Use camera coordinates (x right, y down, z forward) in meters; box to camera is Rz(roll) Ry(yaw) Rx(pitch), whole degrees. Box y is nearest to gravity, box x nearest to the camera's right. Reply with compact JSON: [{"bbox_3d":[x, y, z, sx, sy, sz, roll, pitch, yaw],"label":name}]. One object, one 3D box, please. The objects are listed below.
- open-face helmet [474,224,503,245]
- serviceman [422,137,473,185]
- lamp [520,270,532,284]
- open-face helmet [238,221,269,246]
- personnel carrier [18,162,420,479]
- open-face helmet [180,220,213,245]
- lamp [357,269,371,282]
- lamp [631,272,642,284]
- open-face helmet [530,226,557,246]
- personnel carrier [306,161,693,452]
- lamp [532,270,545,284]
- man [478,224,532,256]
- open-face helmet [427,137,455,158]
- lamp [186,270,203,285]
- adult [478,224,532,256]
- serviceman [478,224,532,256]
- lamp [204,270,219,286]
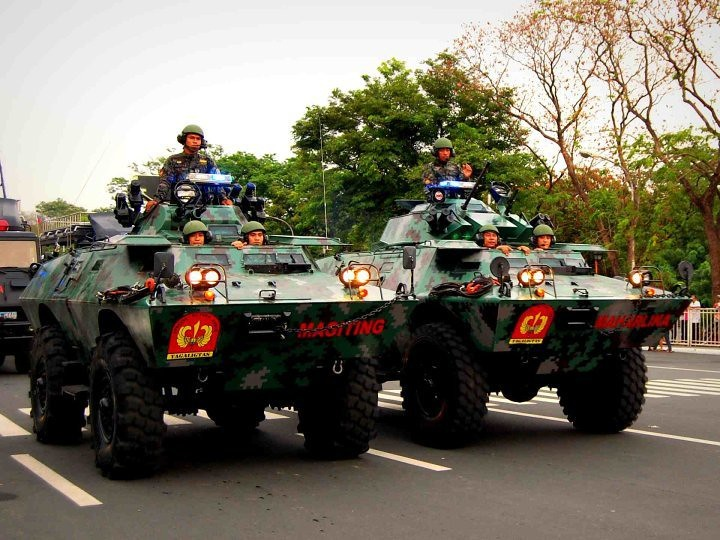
[{"bbox_3d":[1.947,-0.485,10.059,0.288,0.330,0.335,2,-15,-4],"label":"open-face helmet"},{"bbox_3d":[1.478,-1.866,11.924,0.709,1.074,0.695,-6,8,-36],"label":"serviceman"},{"bbox_3d":[2.030,0.088,8.174,0.141,0.151,0.046,0,0,14],"label":"lamp"},{"bbox_3d":[-1.369,-0.470,8.841,0.317,0.369,0.389,4,-13,-30],"label":"open-face helmet"},{"bbox_3d":[-2.138,0.593,8.437,2.845,2.810,4.825,5,-9,-33],"label":"personnel carrier"},{"bbox_3d":[-1.962,-0.458,8.124,0.285,0.299,0.315,-1,-4,-26],"label":"open-face helmet"},{"bbox_3d":[0.074,0.067,7.300,0.093,0.140,0.235,0,-1,28],"label":"lamp"},{"bbox_3d":[3.618,0.109,8.764,0.137,0.130,0.077,0,0,29],"label":"lamp"},{"bbox_3d":[2.912,-0.504,10.487,0.317,0.347,0.325,1,-7,-9],"label":"open-face helmet"},{"bbox_3d":[1.815,0.349,9.348,3.083,2.936,6.889,0,-1,-26],"label":"personnel carrier"},{"bbox_3d":[2.203,0.089,8.192,0.157,0.150,0.067,0,0,-31],"label":"lamp"},{"bbox_3d":[2.048,-0.451,9.894,0.452,0.252,0.636,0,11,-40],"label":"man"},{"bbox_3d":[1.521,-2.250,12.124,0.337,0.303,0.371,2,-5,-16],"label":"open-face helmet"},{"bbox_3d":[-1.561,0.065,6.391,0.137,0.133,0.081,3,-11,-18],"label":"lamp"},{"bbox_3d":[2.067,-0.437,9.882,0.452,0.252,0.636,0,11,-40],"label":"adult"},{"bbox_3d":[2.082,-0.483,9.867,0.452,0.252,0.636,0,11,-40],"label":"serviceman"},{"bbox_3d":[-1.410,0.070,6.490,0.159,0.155,0.062,0,0,-30],"label":"lamp"}]
